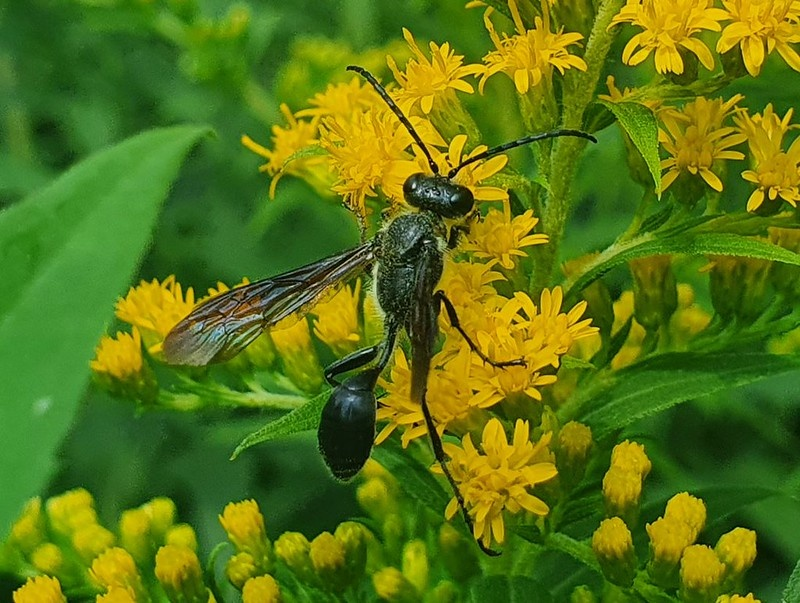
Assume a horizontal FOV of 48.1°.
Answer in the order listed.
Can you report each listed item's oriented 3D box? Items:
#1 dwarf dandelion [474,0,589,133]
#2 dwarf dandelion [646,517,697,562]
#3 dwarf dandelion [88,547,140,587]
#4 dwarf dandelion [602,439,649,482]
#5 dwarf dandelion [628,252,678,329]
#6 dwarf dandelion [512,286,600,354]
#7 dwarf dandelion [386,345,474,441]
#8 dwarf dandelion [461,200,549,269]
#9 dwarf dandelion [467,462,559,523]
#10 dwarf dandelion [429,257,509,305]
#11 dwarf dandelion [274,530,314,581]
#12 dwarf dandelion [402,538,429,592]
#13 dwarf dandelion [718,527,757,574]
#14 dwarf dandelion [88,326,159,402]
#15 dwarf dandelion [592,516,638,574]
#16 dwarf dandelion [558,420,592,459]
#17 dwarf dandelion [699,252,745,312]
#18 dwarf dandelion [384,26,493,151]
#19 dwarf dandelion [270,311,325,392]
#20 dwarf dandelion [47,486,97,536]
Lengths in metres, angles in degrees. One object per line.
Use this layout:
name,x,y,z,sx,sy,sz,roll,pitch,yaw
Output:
dwarf dandelion,0.230,-0.410,1.561,0.186,0.229,0.116,-8,-5,7
dwarf dandelion,0.474,0.415,1.566,0.069,0.068,0.073,-8,16,-8
dwarf dandelion,-0.584,0.544,1.826,0.099,0.081,0.048,-9,-5,14
dwarf dandelion,0.419,0.287,1.625,0.067,0.035,0.081,-3,35,31
dwarf dandelion,0.524,-0.015,1.768,0.071,0.101,0.149,-12,-7,42
dwarf dandelion,0.268,0.035,1.558,0.138,0.117,0.053,-8,-5,7
dwarf dandelion,0.055,0.178,1.608,0.065,0.164,0.156,34,-58,-31
dwarf dandelion,0.188,-0.117,1.607,0.123,0.134,0.060,4,-3,10
dwarf dandelion,0.190,0.300,1.557,0.130,0.054,0.163,-33,7,-25
dwarf dandelion,0.131,-0.047,1.664,0.140,0.060,0.143,10,-11,-16
dwarf dandelion,-0.219,0.503,1.749,0.080,0.051,0.126,-8,22,-12
dwarf dandelion,0.030,0.502,1.706,0.044,0.088,0.028,-5,-22,8
dwarf dandelion,0.597,0.438,1.580,0.059,0.052,0.078,7,31,8
dwarf dandelion,-0.584,0.149,1.929,0.137,0.151,0.072,-30,-26,11
dwarf dandelion,0.381,0.419,1.608,0.076,0.050,0.117,-26,1,7
dwarf dandelion,0.309,0.240,1.584,0.055,0.057,0.058,7,26,14
dwarf dandelion,0.614,-0.032,1.698,0.024,0.108,0.067,24,-25,-39
dwarf dandelion,0.065,-0.375,1.727,0.179,0.204,0.210,-35,-10,24
dwarf dandelion,-0.229,0.112,1.927,0.112,0.078,0.213,-10,24,-1
dwarf dandelion,-0.699,0.448,1.903,0.101,0.088,0.074,-5,-6,-23
